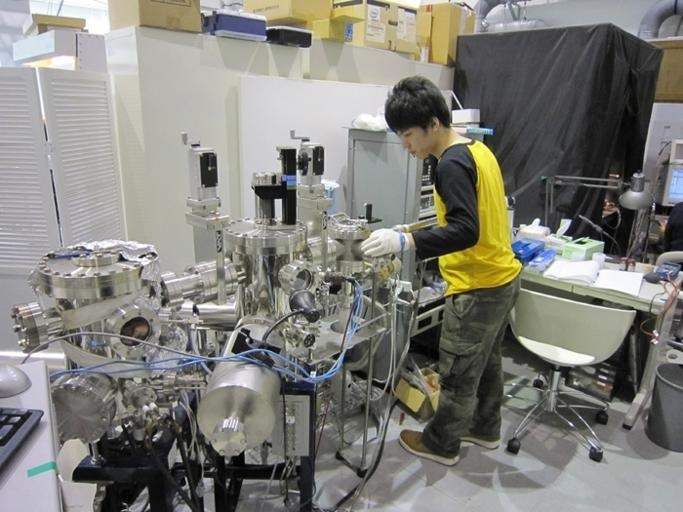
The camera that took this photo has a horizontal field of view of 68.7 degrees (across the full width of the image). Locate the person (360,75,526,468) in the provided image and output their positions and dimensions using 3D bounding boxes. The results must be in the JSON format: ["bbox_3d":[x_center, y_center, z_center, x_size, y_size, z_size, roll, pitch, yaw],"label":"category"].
[{"bbox_3d":[0.544,0.181,2.489,0.775,2.045,0.509,-3,17,1],"label":"person"}]

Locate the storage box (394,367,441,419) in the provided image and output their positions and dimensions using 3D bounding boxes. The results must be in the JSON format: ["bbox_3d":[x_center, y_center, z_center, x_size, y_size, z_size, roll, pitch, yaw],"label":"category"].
[{"bbox_3d":[0.475,0.885,3.189,0.301,0.138,0.291,32,34,30],"label":"storage box"}]

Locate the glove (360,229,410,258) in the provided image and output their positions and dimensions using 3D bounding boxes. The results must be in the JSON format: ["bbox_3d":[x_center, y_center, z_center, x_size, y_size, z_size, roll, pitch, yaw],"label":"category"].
[{"bbox_3d":[0.191,-0.050,2.213,0.220,0.127,0.100,-10,18,-19],"label":"glove"}]

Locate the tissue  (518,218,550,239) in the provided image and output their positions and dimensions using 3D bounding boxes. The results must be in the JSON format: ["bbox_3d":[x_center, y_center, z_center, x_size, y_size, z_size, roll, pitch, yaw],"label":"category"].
[{"bbox_3d":[1.388,-0.193,3.608,0.167,0.177,0.173,8,19,37],"label":"tissue "}]

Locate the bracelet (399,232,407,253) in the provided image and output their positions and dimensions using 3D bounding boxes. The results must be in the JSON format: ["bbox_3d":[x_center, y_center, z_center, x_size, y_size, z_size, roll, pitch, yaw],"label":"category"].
[{"bbox_3d":[0.273,-0.050,2.234,0.024,0.071,0.051,-1,31,5],"label":"bracelet"}]

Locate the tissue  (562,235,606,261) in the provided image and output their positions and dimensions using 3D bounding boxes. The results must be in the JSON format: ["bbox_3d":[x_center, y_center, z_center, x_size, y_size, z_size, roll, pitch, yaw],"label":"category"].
[{"bbox_3d":[1.658,-0.077,3.413,0.254,0.096,0.142,-17,22,-39],"label":"tissue "}]

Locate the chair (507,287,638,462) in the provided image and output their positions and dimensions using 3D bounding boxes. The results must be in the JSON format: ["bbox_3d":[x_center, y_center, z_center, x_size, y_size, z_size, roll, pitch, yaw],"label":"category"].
[{"bbox_3d":[1.312,0.630,3.050,0.648,0.941,0.671,9,19,27],"label":"chair"}]
